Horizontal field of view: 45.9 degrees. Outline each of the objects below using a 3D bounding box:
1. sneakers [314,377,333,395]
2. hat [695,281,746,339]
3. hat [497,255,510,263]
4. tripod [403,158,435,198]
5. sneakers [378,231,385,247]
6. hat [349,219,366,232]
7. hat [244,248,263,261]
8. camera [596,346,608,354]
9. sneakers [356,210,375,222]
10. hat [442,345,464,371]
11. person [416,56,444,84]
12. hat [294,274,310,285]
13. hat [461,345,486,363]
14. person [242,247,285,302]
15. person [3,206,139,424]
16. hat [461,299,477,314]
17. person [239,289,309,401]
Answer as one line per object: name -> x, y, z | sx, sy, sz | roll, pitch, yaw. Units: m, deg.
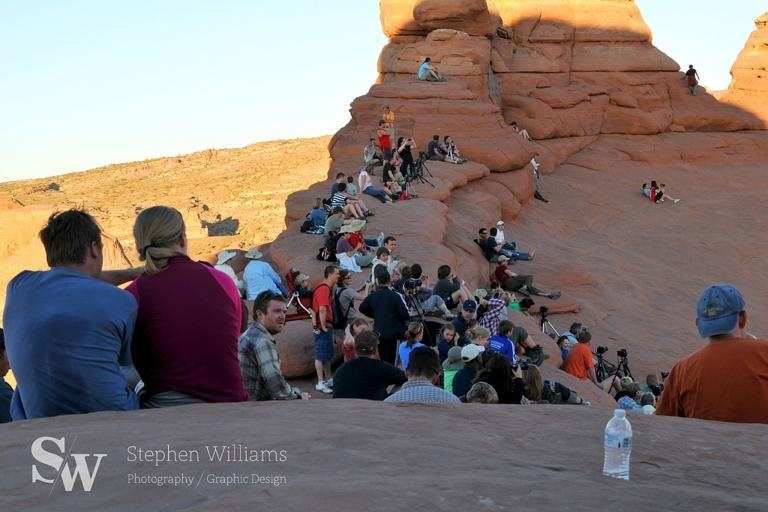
sneakers -> -1.066, 2.137, 14.863 | 0.447, 0.165, 0.157 | 1, 6, 29
hat -> 3.779, 0.560, 10.554 | 0.562, 0.358, 0.802 | -10, 24, 42
hat -> 2.889, 0.087, 22.177 | 0.346, 0.090, 0.206 | -6, 8, -26
tripod -> 0.856, -2.251, 25.860 | 1.200, 1.364, 1.158 | -4, 2, 3
sneakers -> -0.157, -0.356, 20.169 | 0.146, 0.371, 0.176 | 3, -10, 24
hat -> -0.607, -0.625, 18.979 | 0.300, 0.249, 0.284 | -4, 7, -2
hat -> -2.512, -0.021, 17.347 | 0.355, 0.121, 0.359 | -2, 4, -2
camera -> 4.339, 1.912, 18.573 | 0.178, 0.133, 0.518 | 24, -2, 20
sneakers -> -0.491, -0.972, 22.080 | 0.177, 0.193, 0.519 | 6, 12, 33
hat -> 1.013, 1.594, 13.968 | 0.362, 0.167, 0.336 | -14, 24, 23
person -> 1.345, -6.746, 33.110 | 1.310, 1.082, 0.713 | -15, 27, -32
hat -> -1.535, 0.432, 16.399 | 0.191, 0.204, 0.359 | -3, 6, 4
hat -> 1.270, 1.457, 13.634 | 0.332, 0.273, 0.340 | -4, 7, 0
person -> -2.289, 0.362, 17.129 | 0.690, 0.897, 1.311 | -7, -26, 7
person -> -3.449, 0.641, 9.975 | 1.430, 2.287, 0.576 | -6, 8, -14
hat -> 1.456, 0.870, 15.431 | 0.259, 0.160, 0.392 | 5, 1, 14
person -> -1.474, 1.136, 11.219 | 0.668, 1.376, 0.420 | -6, 8, -9
